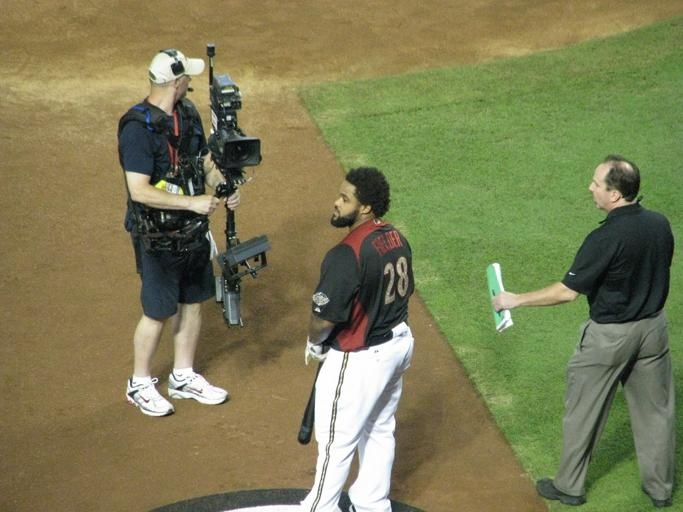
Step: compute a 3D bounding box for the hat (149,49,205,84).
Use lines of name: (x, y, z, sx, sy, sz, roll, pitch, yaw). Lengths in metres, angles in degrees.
hat: (-1.653, -1.864, 13.502, 0.511, 0.286, 0.319, -20, 50, -21)

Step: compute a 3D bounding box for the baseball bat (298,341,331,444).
baseball bat: (-0.270, 1.332, 12.848, 0.201, 0.947, 0.052, 10, 8, 6)

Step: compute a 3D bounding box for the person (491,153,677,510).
person: (2.637, 0.779, 13.091, 1.426, 3.309, 0.811, 4, 19, 8)

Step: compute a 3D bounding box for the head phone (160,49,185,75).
head phone: (-1.657, -1.944, 13.435, 0.199, 0.242, 0.264, 9, 43, 20)

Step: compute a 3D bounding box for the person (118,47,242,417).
person: (-1.714, -0.218, 13.639, 1.031, 3.588, 0.907, -4, 20, -17)

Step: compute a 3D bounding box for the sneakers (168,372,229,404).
sneakers: (-1.487, 1.328, 14.030, 0.656, 0.269, 0.270, 7, 16, 3)

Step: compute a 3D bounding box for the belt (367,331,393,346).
belt: (0.369, 0.762, 12.550, 0.174, 0.062, 0.127, -16, 2, 1)
